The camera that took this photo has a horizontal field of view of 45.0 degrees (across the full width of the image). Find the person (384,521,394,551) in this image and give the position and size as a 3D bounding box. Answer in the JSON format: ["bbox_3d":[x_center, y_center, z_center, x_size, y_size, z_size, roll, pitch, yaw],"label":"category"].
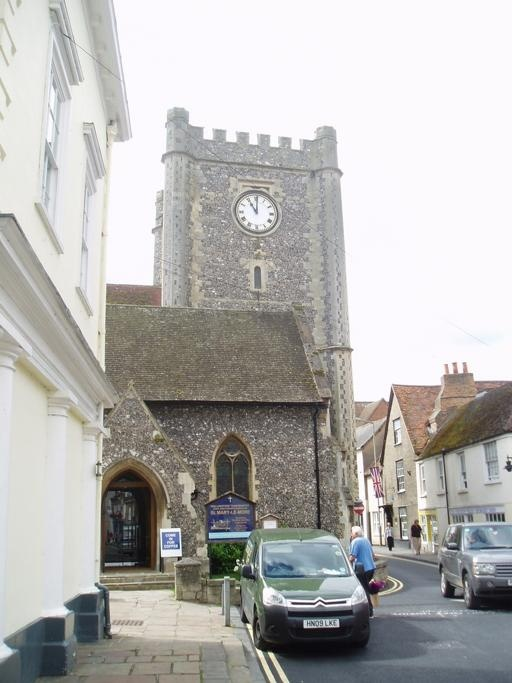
[{"bbox_3d":[7.651,11.362,35.521,0.367,1.393,1.889,-7,-18,12],"label":"person"}]
